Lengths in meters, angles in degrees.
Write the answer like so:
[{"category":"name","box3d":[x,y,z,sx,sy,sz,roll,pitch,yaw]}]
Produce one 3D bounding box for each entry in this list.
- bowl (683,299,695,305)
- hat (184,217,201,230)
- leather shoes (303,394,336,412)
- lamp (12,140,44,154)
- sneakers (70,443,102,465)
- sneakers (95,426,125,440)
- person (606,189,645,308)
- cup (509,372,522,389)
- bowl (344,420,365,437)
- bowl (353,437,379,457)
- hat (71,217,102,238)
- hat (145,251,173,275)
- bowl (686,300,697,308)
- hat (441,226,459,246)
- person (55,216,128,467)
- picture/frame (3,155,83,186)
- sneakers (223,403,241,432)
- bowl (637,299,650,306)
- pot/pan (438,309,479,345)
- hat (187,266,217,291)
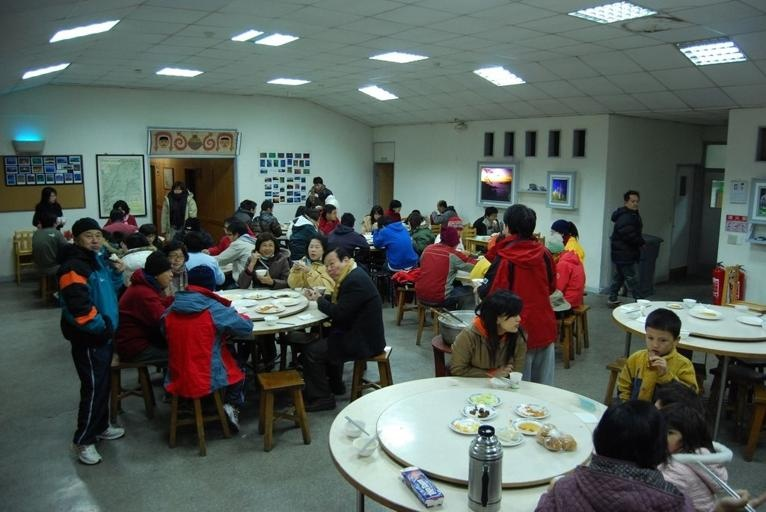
[{"category":"bowl","box3d":[3.657,0.556,6.721,0.116,0.061,0.136,1,2,-25]},{"category":"hat","box3d":[-2.996,-0.491,8.787,0.220,0.229,0.291,16,7,-4]},{"category":"leather shoes","box3d":[-0.724,1.702,6.398,0.355,0.135,0.138,1,3,-20]},{"category":"lamp","box3d":[-6.972,-2.140,11.029,0.393,0.170,0.295,0,1,-15]},{"category":"sneakers","box3d":[-2.906,1.966,5.579,0.333,0.150,0.144,21,15,17]},{"category":"sneakers","box3d":[-2.844,1.872,5.893,0.222,0.096,0.114,-7,26,-18]},{"category":"person","box3d":[4.345,-0.133,10.001,0.542,2.052,0.456,2,7,23]},{"category":"cup","box3d":[1.147,1.091,4.857,0.119,0.090,0.122,-1,2,0]},{"category":"bowl","box3d":[-0.221,1.342,4.312,0.116,0.051,0.117,1,10,0]},{"category":"bowl","box3d":[-0.128,1.420,4.177,0.144,0.139,0.158,-1,7,0]},{"category":"hat","box3d":[-2.950,-0.290,5.559,0.224,0.141,0.221,-14,9,-2]},{"category":"hat","box3d":[-2.381,0.082,5.935,0.266,0.221,0.204,-6,6,15]},{"category":"bowl","box3d":[3.679,0.583,6.681,0.086,0.072,0.099,1,-3,-26]},{"category":"hat","box3d":[0.964,-0.275,7.916,0.245,0.219,0.291,30,-16,-37]},{"category":"person","box3d":[-2.860,0.848,5.539,0.506,2.420,0.457,-7,9,-42]},{"category":"picture/frame","box3d":[-6.849,-1.730,11.308,1.399,0.599,0.063,-5,8,-33]},{"category":"sneakers","box3d":[-1.594,1.721,5.982,0.152,0.337,0.117,-18,15,-5]},{"category":"bowl","box3d":[3.144,0.579,6.786,0.134,0.067,0.163,0,0,-5]},{"category":"pot/pan","box3d":[0.728,0.767,5.940,0.344,0.176,0.352,24,24,32]},{"category":"hat","box3d":[-1.902,0.239,6.006,0.328,0.284,0.222,-14,32,-40]}]
